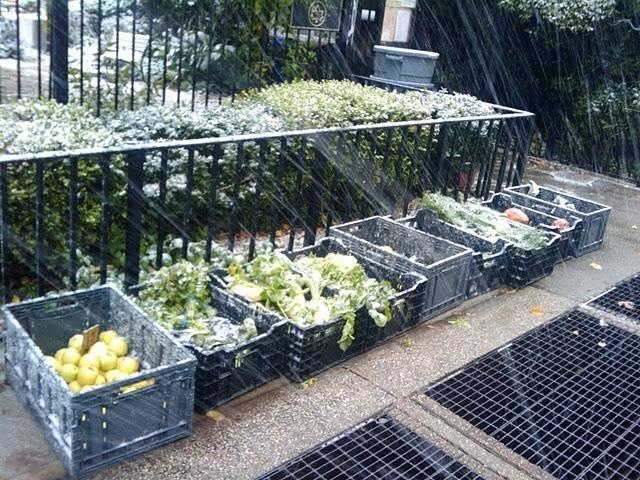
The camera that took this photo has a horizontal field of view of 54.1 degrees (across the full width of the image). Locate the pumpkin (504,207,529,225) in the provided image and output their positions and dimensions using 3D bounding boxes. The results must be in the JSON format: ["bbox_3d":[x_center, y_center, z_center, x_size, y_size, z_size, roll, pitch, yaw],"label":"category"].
[{"bbox_3d":[2.069,-0.240,6.496,0.213,0.082,0.168,-1,25,-44],"label":"pumpkin"}]

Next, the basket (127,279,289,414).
[{"bbox_3d":[-0.701,0.610,4.602,1.118,0.580,1.100,-2,29,-45],"label":"basket"}]
